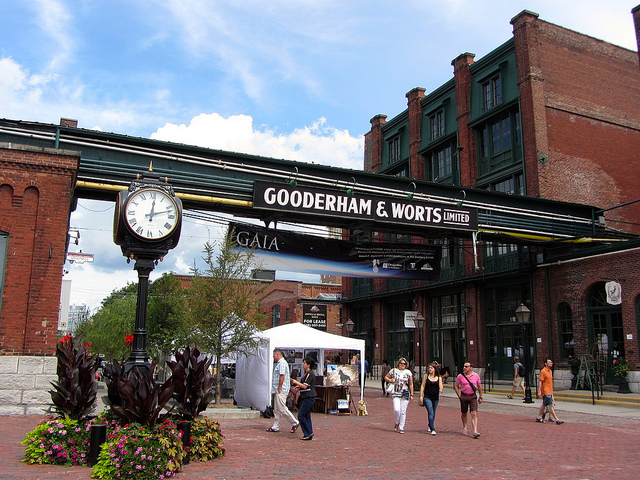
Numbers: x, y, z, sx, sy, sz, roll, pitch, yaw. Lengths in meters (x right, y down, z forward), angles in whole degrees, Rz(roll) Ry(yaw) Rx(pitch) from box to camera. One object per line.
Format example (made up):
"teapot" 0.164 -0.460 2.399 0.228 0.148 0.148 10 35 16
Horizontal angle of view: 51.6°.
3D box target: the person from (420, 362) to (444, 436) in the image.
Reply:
"person" 3.299 4.710 19.664 0.652 2.085 1.204 -1 -14 9

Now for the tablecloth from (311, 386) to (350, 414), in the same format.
"tablecloth" 0.296 5.872 24.322 1.390 0.979 0.531 -10 -17 37

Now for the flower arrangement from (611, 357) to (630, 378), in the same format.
"flower arrangement" 12.462 5.307 27.657 0.648 0.789 0.691 1 -15 10

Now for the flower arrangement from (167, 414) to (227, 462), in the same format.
"flower arrangement" -2.898 4.697 15.836 1.091 0.703 1.056 9 -11 -37

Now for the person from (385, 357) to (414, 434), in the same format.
"person" 2.393 4.697 19.961 0.772 2.169 1.486 -1 -14 5

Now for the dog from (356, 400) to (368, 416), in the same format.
"dog" 1.479 6.093 23.939 0.431 0.607 0.449 5 -20 -7

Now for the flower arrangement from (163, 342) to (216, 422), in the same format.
"flower arrangement" -2.974 3.387 15.492 1.065 1.804 0.984 0 0 -1

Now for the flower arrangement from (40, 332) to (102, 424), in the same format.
"flower arrangement" -5.745 3.249 15.538 1.097 2.017 1.673 6 -15 -21

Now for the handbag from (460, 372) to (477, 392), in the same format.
"handbag" 4.364 4.192 19.313 0.143 0.539 0.075 -40 -32 -9
